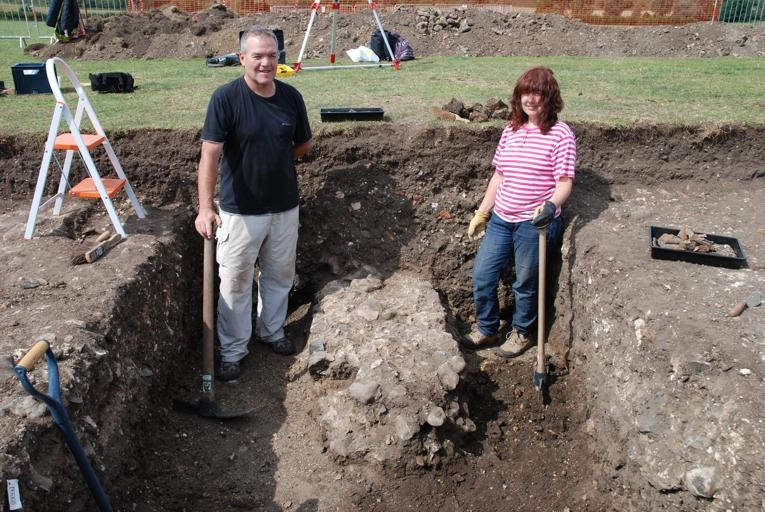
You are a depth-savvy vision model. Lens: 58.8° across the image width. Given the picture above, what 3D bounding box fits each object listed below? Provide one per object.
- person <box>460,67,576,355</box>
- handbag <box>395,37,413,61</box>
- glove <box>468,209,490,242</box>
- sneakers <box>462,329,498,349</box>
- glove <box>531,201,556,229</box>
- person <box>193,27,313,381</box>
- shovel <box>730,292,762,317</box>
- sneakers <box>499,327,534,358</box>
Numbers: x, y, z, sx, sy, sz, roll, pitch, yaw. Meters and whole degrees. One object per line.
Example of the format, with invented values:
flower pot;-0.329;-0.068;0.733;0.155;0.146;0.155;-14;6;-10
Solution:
person;1.321;-0.341;6.496;0.869;2.780;0.640;8;24;16
handbag;0.400;-3.887;12.699;0.373;0.206;0.598;-6;48;-10
glove;0.994;-0.308;6.925;0.213;0.272;0.077;19;32;21
sneakers;0.970;0.843;6.989;0.399;0.165;0.166;-2;56;-13
glove;1.486;-0.370;6.210;0.191;0.259;0.254;7;24;16
person;-1.223;-0.422;6.484;1.105;3.325;0.549;-7;24;-16
shovel;3.023;0.415;5.630;0.417;0.061;0.120;-24;41;-27
sneakers;1.362;0.891;6.881;0.401;0.200;0.193;-27;50;-6
